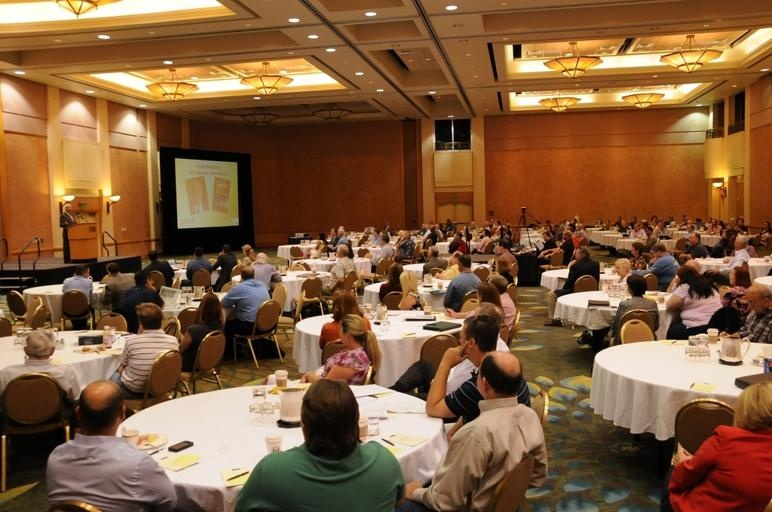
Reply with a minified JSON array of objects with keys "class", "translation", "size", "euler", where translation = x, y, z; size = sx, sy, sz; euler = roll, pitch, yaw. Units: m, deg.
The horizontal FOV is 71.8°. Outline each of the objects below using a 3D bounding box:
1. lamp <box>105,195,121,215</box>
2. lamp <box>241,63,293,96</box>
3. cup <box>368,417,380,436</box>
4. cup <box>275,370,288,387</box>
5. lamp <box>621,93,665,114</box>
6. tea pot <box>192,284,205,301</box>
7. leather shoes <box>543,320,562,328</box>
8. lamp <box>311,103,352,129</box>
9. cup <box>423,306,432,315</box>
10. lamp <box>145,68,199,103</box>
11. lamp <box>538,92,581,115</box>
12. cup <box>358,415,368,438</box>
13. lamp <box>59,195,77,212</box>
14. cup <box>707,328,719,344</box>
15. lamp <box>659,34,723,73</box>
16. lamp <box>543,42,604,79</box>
[{"class":"lamp","translation":[-10.870,-2.057,21.295],"size":[0.396,0.676,0.851],"euler":[-2,10,-4]},{"class":"lamp","translation":[-4.104,-5.984,18.390],"size":[1.414,0.836,1.374],"euler":[-3,4,-20]},{"class":"cup","translation":[-0.097,1.353,4.252],"size":[0.102,0.109,0.104],"euler":[0,6,0]},{"class":"cup","translation":[-0.966,1.117,4.938],"size":[0.152,0.142,0.145],"euler":[-3,4,0]},{"class":"lamp","translation":[11.308,-6.789,23.050],"size":[1.654,0.537,1.628],"euler":[-3,-2,8]},{"class":"tea pot","translation":[-3.479,0.670,9.835],"size":[0.324,0.305,0.214],"euler":[-3,-3,41]},{"class":"leather shoes","translation":[3.358,1.358,10.729],"size":[0.126,0.140,0.364],"euler":[-1,4,-39]},{"class":"lamp","translation":[-2.617,-6.548,24.449],"size":[1.568,0.776,1.498],"euler":[1,6,14]},{"class":"cup","translation":[0.596,0.773,7.600],"size":[0.102,0.086,0.093],"euler":[-3,0,0]},{"class":"lamp","translation":[-7.623,-6.069,18.890],"size":[1.726,1.198,1.646],"euler":[-2,1,-23]},{"class":"lamp","translation":[7.543,-6.599,23.028],"size":[1.653,0.570,1.644],"euler":[-2,-3,7]},{"class":"cup","translation":[-0.171,1.301,4.062],"size":[0.101,0.156,0.157],"euler":[1,-3,-10]},{"class":"lamp","translation":[-11.332,-1.872,18.853],"size":[0.451,0.540,1.003],"euler":[-6,11,-22]},{"class":"cup","translation":[3.663,0.881,5.945],"size":[0.092,0.169,0.206],"euler":[5,12,30]},{"class":"lamp","translation":[9.970,-6.384,17.422],"size":[1.520,1.075,1.489],"euler":[-1,2,-2]},{"class":"lamp","translation":[6.105,-6.355,17.294],"size":[1.991,1.102,1.752],"euler":[-6,9,-30]}]
